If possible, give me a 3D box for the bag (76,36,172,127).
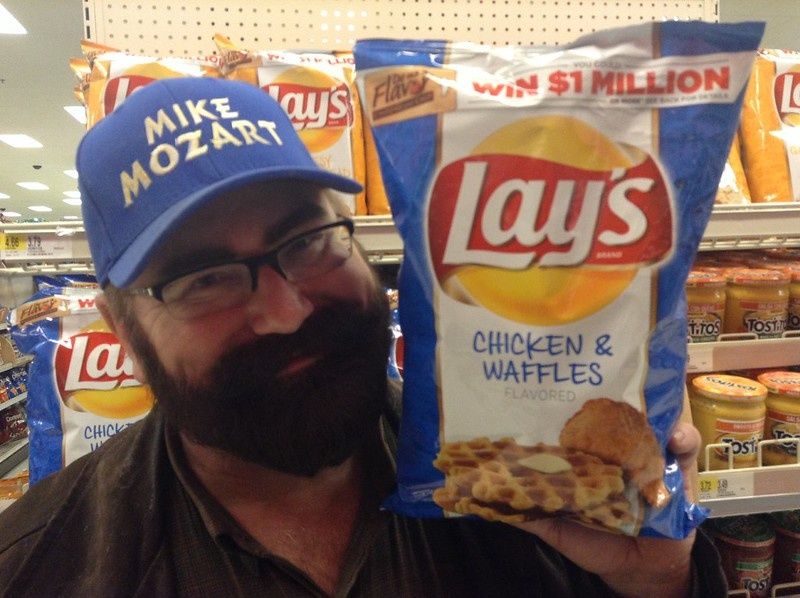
[{"bbox_3d":[-0.693,-0.533,1.778,0.230,0.261,0.077,1,-7,3],"label":"bag"}]
